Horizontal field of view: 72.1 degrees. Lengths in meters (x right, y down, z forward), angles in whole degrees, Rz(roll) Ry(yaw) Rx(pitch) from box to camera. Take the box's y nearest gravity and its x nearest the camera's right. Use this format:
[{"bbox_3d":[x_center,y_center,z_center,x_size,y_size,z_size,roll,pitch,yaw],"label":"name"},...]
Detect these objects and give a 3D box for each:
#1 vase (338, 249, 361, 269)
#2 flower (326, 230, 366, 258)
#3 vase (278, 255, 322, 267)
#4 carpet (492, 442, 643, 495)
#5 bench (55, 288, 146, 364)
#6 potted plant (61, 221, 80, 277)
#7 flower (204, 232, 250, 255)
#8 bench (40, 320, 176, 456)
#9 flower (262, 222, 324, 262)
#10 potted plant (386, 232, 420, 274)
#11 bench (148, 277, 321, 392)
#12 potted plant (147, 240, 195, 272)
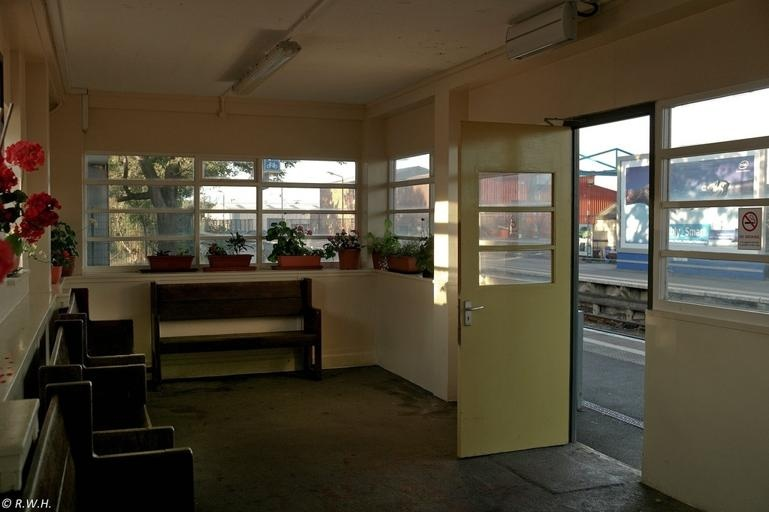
[{"bbox_3d":[-0.481,0.032,7.608,0.348,0.306,0.241,-2,5,-22],"label":"vase"},{"bbox_3d":[-0.583,-0.205,7.640,0.418,0.303,0.380,1,5,26],"label":"flower"},{"bbox_3d":[-1.194,0.082,7.426,0.578,0.181,0.084,-1,4,-12],"label":"vase"},{"bbox_3d":[1.743,1.729,4.455,0.917,0.993,0.085,8,43,-7],"label":"carpet"},{"bbox_3d":[-2.880,0.679,5.323,0.351,0.532,0.892,-1,5,-18],"label":"bench"},{"bbox_3d":[-3.801,-0.069,6.335,0.229,0.683,0.997,-2,5,-30],"label":"potted plant"},{"bbox_3d":[-2.182,-0.141,7.344,0.373,0.256,0.365,-2,5,-38],"label":"flower"},{"bbox_3d":[-1.910,0.885,3.665,0.469,0.760,1.318,-2,6,-19],"label":"bench"},{"bbox_3d":[-1.253,-0.217,7.515,0.796,0.509,0.642,18,20,17],"label":"flower"},{"bbox_3d":[0.270,0.011,7.092,0.312,0.412,0.508,-5,8,-35],"label":"potted plant"},{"bbox_3d":[-1.908,0.955,6.858,2.090,1.284,0.637,-1,4,-14],"label":"bench"},{"bbox_3d":[-2.865,0.006,7.112,0.564,0.242,0.381,1,-4,-16],"label":"potted plant"}]
